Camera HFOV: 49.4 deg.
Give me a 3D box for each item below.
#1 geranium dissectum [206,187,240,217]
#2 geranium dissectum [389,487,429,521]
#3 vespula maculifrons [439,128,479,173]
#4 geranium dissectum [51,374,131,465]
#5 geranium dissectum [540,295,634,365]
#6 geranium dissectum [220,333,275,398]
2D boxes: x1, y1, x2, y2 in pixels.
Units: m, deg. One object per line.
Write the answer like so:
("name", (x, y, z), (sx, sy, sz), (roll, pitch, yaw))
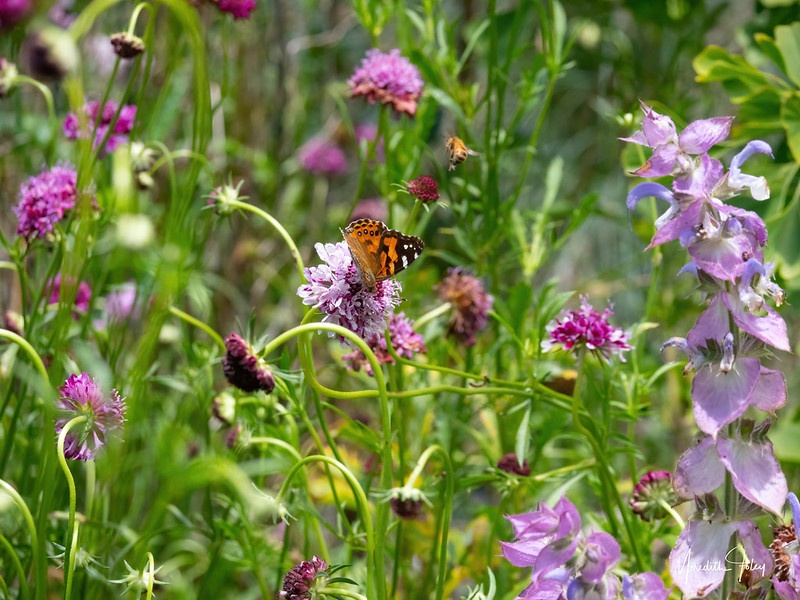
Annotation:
("geranium dissectum", (-0.192, -0.105, 0.908), (0.028, 0.012, 0.036), (7, 73, -3))
("geranium dissectum", (0.004, 0.186, 0.827), (0.031, 0.036, 0.028), (4, 84, 10))
("vespula maculifrons", (0.065, -0.161, 0.964), (0.036, 0.018, 0.054), (0, 24, -11))
("geranium dissectum", (-0.302, 0.112, 0.843), (0.039, 0.119, 0.050), (-4, 17, -4))
("geranium dissectum", (0.181, 0.040, 0.848), (0.062, 0.071, 0.057), (-2, 82, 18))
("geranium dissectum", (-0.145, 0.063, 0.810), (0.034, 0.064, 0.048), (7, 14, 29))
